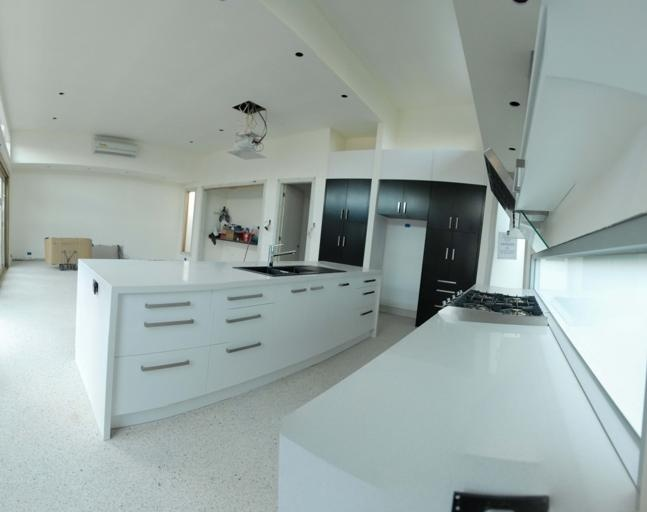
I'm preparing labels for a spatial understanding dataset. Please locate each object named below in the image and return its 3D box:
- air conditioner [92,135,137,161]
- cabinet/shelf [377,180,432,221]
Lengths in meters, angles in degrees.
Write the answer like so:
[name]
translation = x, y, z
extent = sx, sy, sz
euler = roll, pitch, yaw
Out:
[air conditioner]
translation = -3.819, -2.049, 8.026
extent = 0.734, 0.341, 0.196
euler = -2, 12, -32
[cabinet/shelf]
translation = 1.068, -0.748, 5.731
extent = 0.770, 0.625, 0.456
euler = 8, 5, 37
